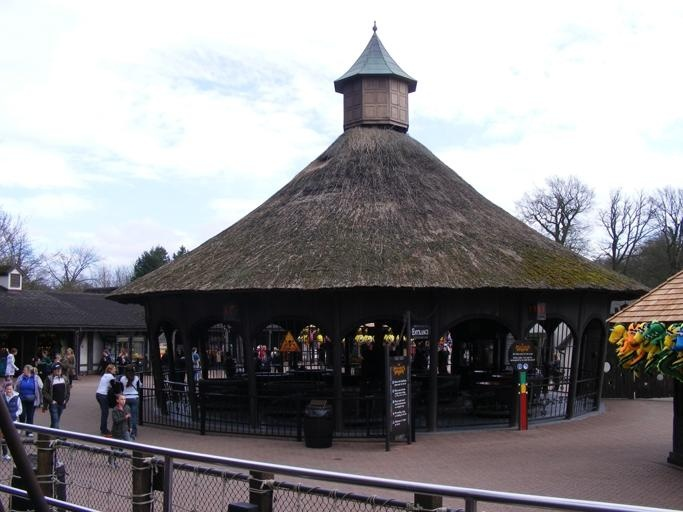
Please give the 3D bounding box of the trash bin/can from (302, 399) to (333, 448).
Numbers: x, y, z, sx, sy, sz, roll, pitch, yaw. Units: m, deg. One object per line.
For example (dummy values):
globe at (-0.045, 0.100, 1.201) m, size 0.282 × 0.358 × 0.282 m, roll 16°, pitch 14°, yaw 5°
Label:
trash bin/can at (-0.826, 4.871, 26.154) m, size 1.014 × 1.430 × 1.027 m, roll -5°, pitch -8°, yaw 32°

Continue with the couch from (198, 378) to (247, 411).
couch at (-3.905, 4.634, 30.511) m, size 1.535 × 1.021 × 1.570 m, roll 1°, pitch -12°, yaw -2°

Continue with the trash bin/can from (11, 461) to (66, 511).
trash bin/can at (-5.959, 4.517, 17.791) m, size 1.041 × 0.993 × 1.061 m, roll 3°, pitch -8°, yaw -18°
